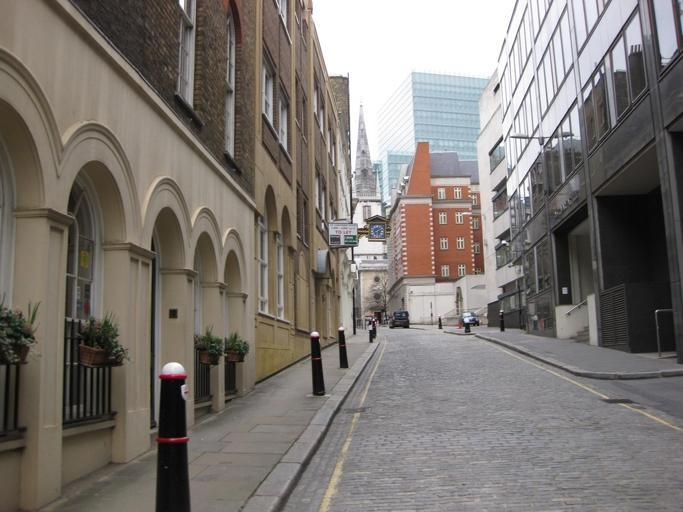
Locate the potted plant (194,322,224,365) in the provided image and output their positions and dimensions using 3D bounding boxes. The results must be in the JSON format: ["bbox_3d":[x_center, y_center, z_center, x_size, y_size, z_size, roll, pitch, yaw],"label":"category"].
[{"bbox_3d":[-2.575,1.776,11.539,0.552,0.784,0.613,-1,-8,-4],"label":"potted plant"}]

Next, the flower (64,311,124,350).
[{"bbox_3d":[-3.316,1.024,7.689,0.558,0.467,0.412,-7,-13,41],"label":"flower"}]

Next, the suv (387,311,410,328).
[{"bbox_3d":[6.643,7.200,65.856,1.385,1.490,2.541,0,-2,-1],"label":"suv"}]

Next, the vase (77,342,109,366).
[{"bbox_3d":[-3.208,1.295,7.483,0.222,0.194,0.328,-5,-9,27],"label":"vase"}]

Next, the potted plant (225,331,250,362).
[{"bbox_3d":[-2.349,2.001,12.902,0.545,0.683,0.565,9,-12,-35],"label":"potted plant"}]

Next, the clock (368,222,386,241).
[{"bbox_3d":[1.881,-1.325,30.481,0.996,0.954,0.984,-2,-11,-7],"label":"clock"}]
